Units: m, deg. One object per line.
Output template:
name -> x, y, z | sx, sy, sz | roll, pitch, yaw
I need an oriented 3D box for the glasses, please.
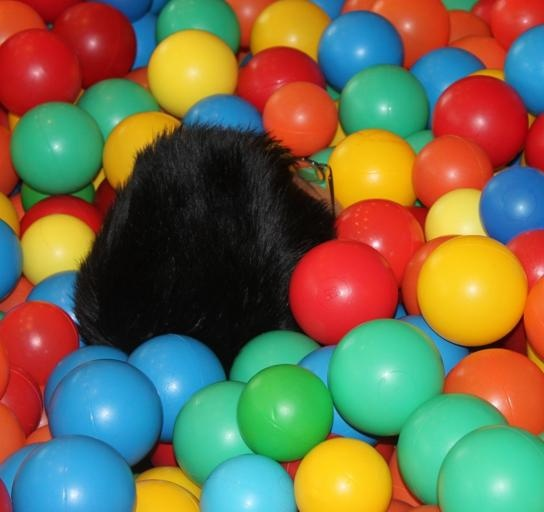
glasses -> 0.187, -0.297, 2.580 | 0.065, 0.254, 0.212 | -30, 40, -19
